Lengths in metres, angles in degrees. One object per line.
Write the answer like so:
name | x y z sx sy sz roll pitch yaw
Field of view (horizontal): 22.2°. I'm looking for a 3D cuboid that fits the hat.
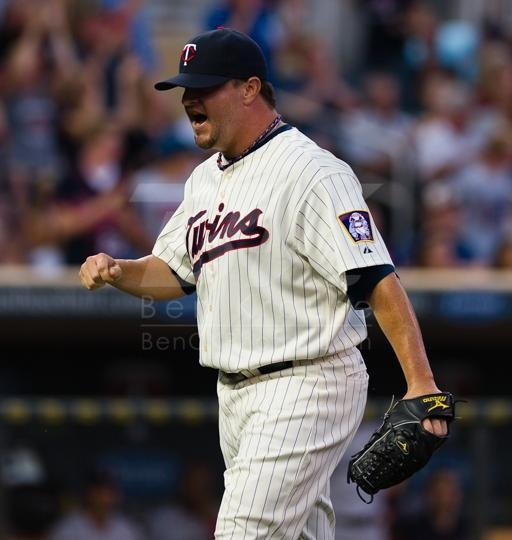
hat | -0.135 -0.693 4.339 0.312 0.153 0.206 -2 6 -21
